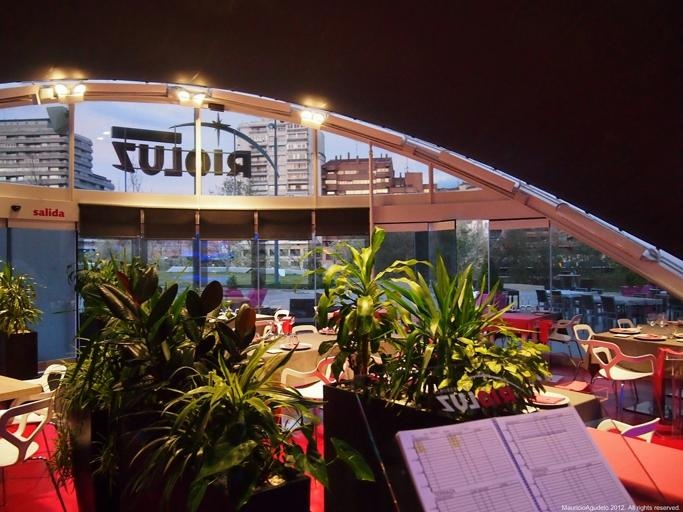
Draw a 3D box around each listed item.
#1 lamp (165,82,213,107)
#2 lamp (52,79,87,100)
[{"bbox_3d":[-2.016,-2.126,7.149,0.554,0.283,0.582,-1,0,1],"label":"lamp"},{"bbox_3d":[-3.363,-2.091,6.859,0.328,0.274,0.411,-1,0,-7],"label":"lamp"}]
